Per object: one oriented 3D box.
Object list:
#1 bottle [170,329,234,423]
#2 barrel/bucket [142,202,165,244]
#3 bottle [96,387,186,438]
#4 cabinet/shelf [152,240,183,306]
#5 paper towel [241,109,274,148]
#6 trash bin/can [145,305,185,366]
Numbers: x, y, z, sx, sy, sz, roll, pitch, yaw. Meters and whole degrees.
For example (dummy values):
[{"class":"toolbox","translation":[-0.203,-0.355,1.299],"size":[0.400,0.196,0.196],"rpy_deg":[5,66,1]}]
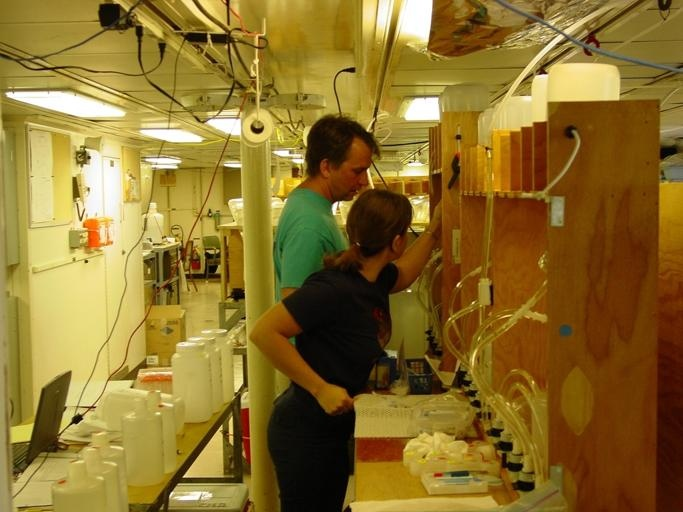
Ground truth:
[{"class":"bottle","translation":[-0.615,0.542,2.591],"size":[0.188,0.415,0.565],"rpy_deg":[0,1,6]},{"class":"barrel/bucket","translation":[-2.723,-0.544,8.239],"size":[0.230,0.407,0.226],"rpy_deg":[23,2,-1]},{"class":"bottle","translation":[-0.774,0.604,2.253],"size":[0.242,0.141,0.132],"rpy_deg":[1,-2,14]},{"class":"cabinet/shelf","translation":[-2.347,0.201,7.793],"size":[0.383,0.921,0.989],"rpy_deg":[-1,5,-3]},{"class":"paper towel","translation":[-0.362,-0.581,2.622],"size":[0.152,0.162,0.158],"rpy_deg":[1,16,-1]},{"class":"trash bin/can","translation":[-1.905,0.831,6.083],"size":[0.353,0.606,0.344],"rpy_deg":[3,-3,-33]}]
